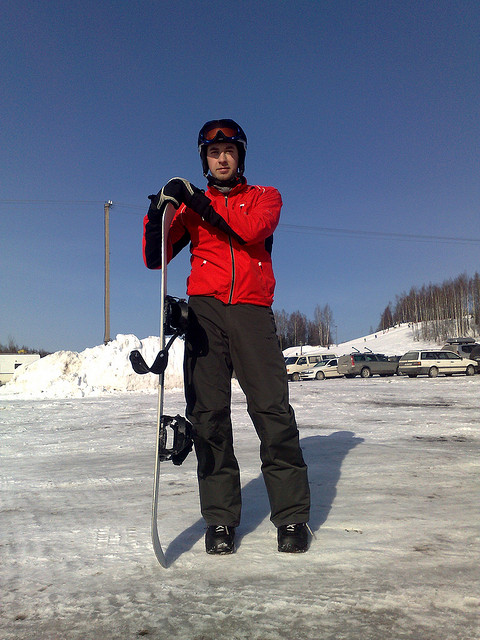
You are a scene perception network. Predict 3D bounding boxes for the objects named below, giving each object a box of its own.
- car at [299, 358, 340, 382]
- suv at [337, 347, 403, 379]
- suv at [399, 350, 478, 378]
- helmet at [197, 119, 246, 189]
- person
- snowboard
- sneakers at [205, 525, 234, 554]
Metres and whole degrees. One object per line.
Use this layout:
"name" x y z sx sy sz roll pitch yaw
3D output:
"car" 3.685 2.264 25.324 1.585 0.750 0.908 7 -13 -37
"suv" 5.759 1.993 25.449 2.702 1.054 1.239 -6 3 -29
"suv" 8.163 1.727 22.823 2.677 0.972 1.323 -2 0 -21
"helmet" -0.080 -0.759 2.541 0.190 0.256 0.215 -5 -1 14
"person" -0.069 0.005 2.308 0.602 1.764 0.464 -3 -10 8
"snowboard" -0.324 0.388 2.685 0.182 2.019 0.225 4 -7 -31
"sneakers" -0.074 0.802 2.069 0.111 0.076 0.170 -2 -4 -3
